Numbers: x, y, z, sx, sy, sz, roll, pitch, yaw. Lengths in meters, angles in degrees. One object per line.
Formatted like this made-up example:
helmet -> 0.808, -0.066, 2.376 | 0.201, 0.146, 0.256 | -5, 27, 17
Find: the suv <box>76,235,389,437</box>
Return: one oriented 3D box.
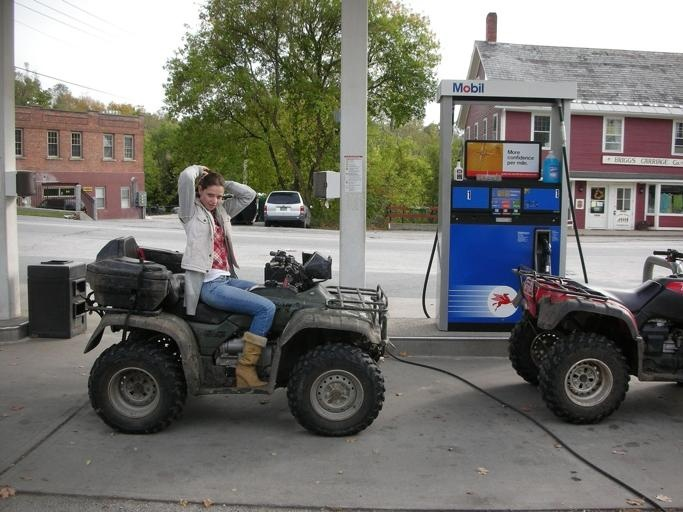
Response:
suv -> -1.000, 0.742, 6.666 | 2.643, 1.908, 1.573 | 1, 6, -3
